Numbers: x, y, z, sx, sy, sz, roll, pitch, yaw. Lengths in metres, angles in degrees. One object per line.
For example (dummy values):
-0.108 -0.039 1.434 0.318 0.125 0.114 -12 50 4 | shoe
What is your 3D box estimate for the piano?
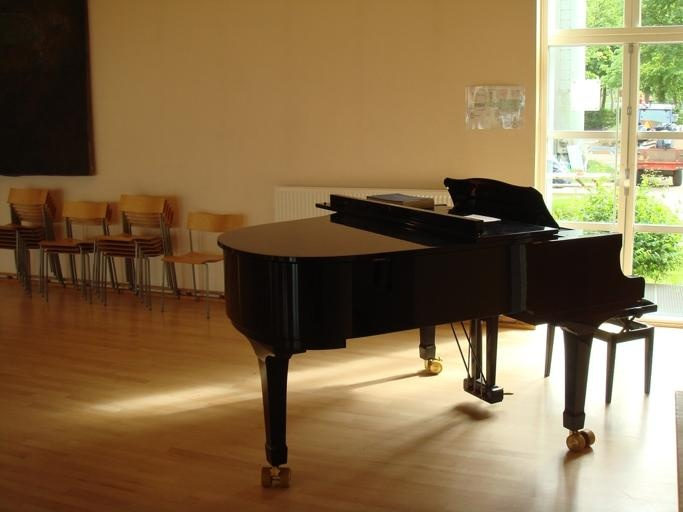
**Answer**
0.427 0.089 3.880 2.342 1.719 1.715 -6 11 -23 | piano
